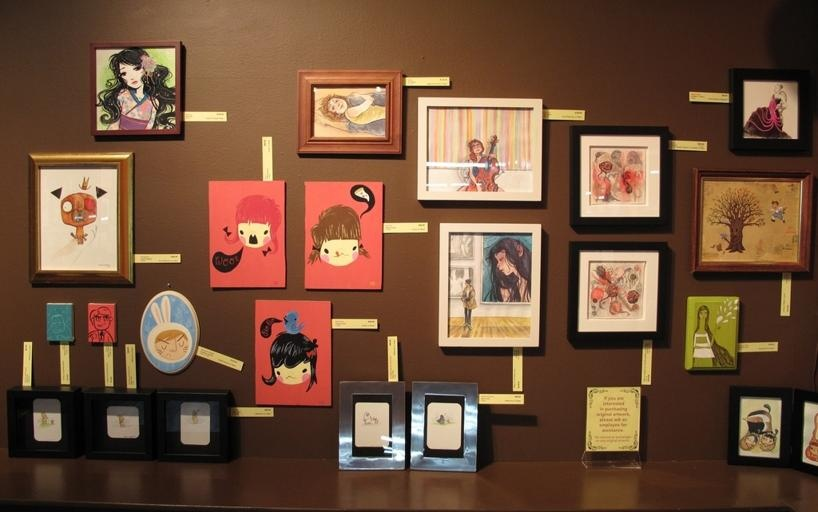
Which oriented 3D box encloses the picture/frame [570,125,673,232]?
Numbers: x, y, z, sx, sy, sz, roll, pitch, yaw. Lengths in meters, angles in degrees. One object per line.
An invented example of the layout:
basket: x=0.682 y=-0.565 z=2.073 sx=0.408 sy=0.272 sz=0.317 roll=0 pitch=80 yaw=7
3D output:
picture/frame: x=1.072 y=-0.411 z=4.647 sx=0.491 sy=0.514 sz=0.037 roll=0 pitch=1 yaw=-1

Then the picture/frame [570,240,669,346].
picture/frame: x=1.066 y=0.172 z=4.662 sx=0.486 sy=0.505 sz=0.037 roll=1 pitch=-1 yaw=-2

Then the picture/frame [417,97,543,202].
picture/frame: x=0.346 y=-0.546 z=4.628 sx=0.497 sy=0.429 sz=0.038 roll=1 pitch=4 yaw=-1

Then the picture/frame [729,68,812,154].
picture/frame: x=1.845 y=-0.754 z=4.662 sx=0.397 sy=0.430 sz=0.036 roll=1 pitch=-2 yaw=-5

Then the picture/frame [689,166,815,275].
picture/frame: x=1.744 y=-0.193 z=4.674 sx=0.519 sy=0.452 sz=0.045 roll=1 pitch=-1 yaw=-2

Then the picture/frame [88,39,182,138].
picture/frame: x=-1.396 y=-0.864 z=4.637 sx=0.458 sy=0.498 sz=0.020 roll=1 pitch=2 yaw=0

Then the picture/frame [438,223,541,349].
picture/frame: x=0.398 y=0.137 z=4.649 sx=0.597 sy=0.721 sz=0.054 roll=0 pitch=1 yaw=-5

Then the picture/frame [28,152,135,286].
picture/frame: x=-1.675 y=-0.216 z=4.661 sx=0.634 sy=0.785 sz=0.058 roll=0 pitch=0 yaw=3

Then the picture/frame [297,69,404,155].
picture/frame: x=-0.307 y=-0.738 z=4.629 sx=0.409 sy=0.342 sz=0.034 roll=0 pitch=-1 yaw=-1
